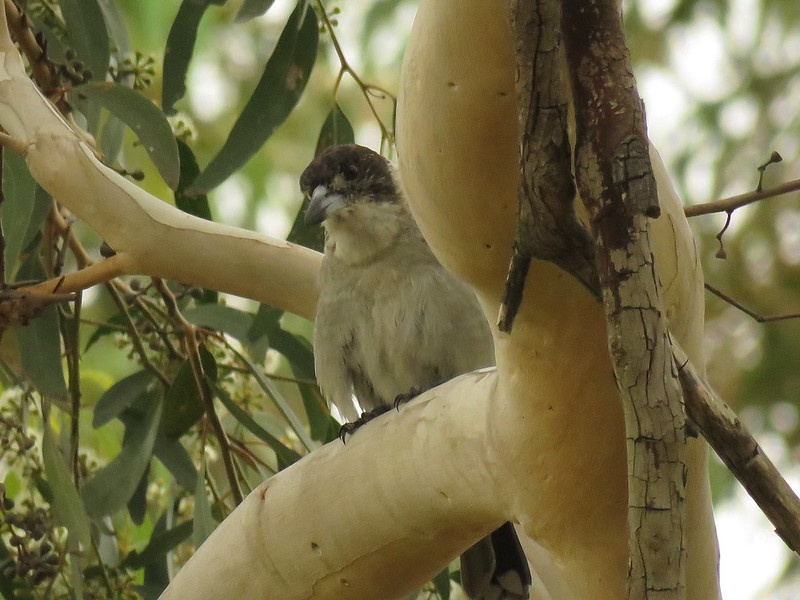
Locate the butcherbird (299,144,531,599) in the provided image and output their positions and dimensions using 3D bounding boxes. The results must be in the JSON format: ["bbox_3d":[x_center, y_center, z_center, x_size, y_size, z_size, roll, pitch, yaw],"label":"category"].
[{"bbox_3d":[-0.012,-0.080,4.967,0.551,0.636,0.591,-12,-55,14],"label":"butcherbird"}]
